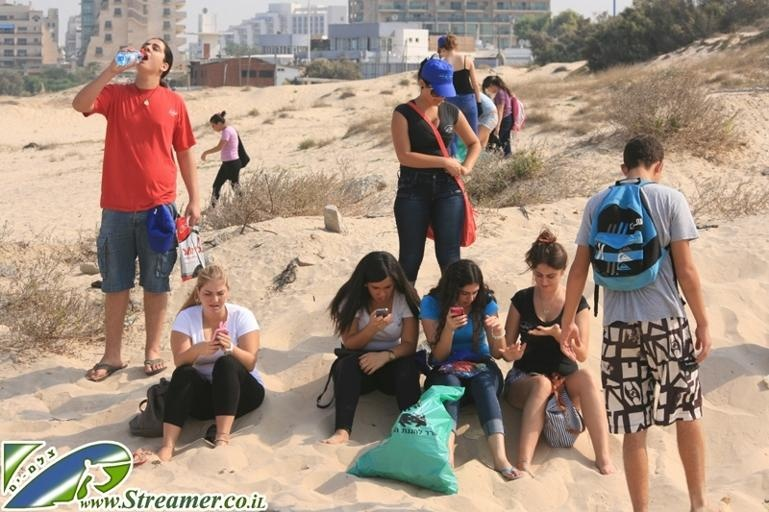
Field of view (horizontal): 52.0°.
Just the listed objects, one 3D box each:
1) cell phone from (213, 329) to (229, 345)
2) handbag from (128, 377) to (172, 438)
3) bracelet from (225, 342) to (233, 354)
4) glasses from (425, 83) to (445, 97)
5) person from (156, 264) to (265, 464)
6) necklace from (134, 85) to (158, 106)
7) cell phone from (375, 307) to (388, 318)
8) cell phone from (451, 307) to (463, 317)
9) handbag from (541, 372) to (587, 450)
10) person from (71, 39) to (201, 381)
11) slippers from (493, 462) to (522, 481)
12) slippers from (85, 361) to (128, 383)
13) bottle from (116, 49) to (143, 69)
[{"bbox_3d":[-1.482,0.740,7.191,0.128,0.158,0.070,-3,14,-13],"label":"cell phone"},{"bbox_3d":[-2.082,1.421,7.267,0.395,0.516,0.203,-1,-20,33],"label":"handbag"},{"bbox_3d":[-1.416,0.849,7.223,0.024,0.072,0.074,22,-39,-23],"label":"bracelet"},{"bbox_3d":[0.501,-1.619,7.582,0.119,0.064,0.159,-10,41,-45],"label":"glasses"},{"bbox_3d":[-1.568,0.922,7.214,0.908,1.566,0.889,-2,14,-10],"label":"person"},{"bbox_3d":[-2.351,-1.574,7.780,0.154,0.211,0.050,-1,-14,-5],"label":"necklace"},{"bbox_3d":[-0.031,0.528,7.289,0.096,0.170,0.017,4,47,0],"label":"cell phone"},{"bbox_3d":[0.644,0.509,7.116,0.081,0.145,0.016,2,38,7],"label":"cell phone"},{"bbox_3d":[1.591,1.406,7.111,0.328,0.669,0.618,-8,-1,23],"label":"handbag"},{"bbox_3d":[-2.428,-0.461,7.916,1.118,3.333,0.713,-4,15,-15],"label":"person"},{"bbox_3d":[1.044,1.849,6.772,0.104,0.060,0.175,-6,6,-34],"label":"slippers"},{"bbox_3d":[-2.815,1.156,7.994,0.148,0.089,0.328,3,10,27],"label":"slippers"},{"bbox_3d":[-2.443,-1.889,7.573,0.162,0.162,0.394,5,15,20],"label":"bottle"}]
